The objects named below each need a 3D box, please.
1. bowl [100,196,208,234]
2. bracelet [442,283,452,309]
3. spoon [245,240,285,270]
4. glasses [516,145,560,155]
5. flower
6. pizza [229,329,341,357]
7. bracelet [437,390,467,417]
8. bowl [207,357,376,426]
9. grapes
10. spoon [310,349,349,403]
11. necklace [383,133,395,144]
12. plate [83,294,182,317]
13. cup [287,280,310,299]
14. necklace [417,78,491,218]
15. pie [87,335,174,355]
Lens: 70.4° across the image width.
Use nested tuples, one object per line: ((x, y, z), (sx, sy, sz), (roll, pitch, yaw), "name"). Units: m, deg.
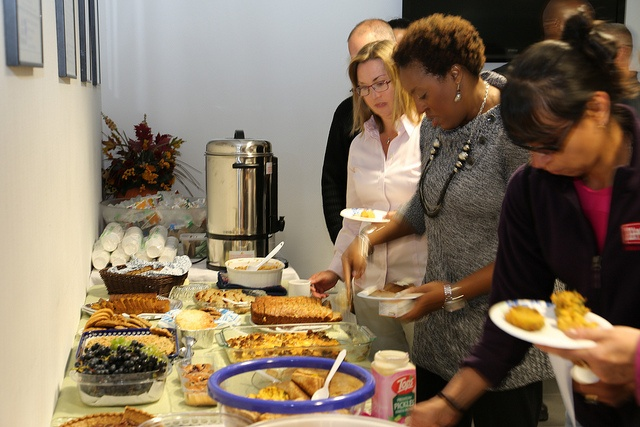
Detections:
((-1.018, 0.004, 2.852), (0.375, 0.142, 0.382), (-1, -3, 0), "bowl")
((0.434, 0.274, 1.538), (0.017, 0.059, 0.043), (-4, 36, 9), "bracelet")
((-0.276, 0.222, 2.218), (0.051, 0.072, 0.353), (-20, -23, -41), "spoon")
((0.494, -0.144, 1.021), (0.029, 0.021, 0.077), (-10, 12, -44), "glasses")
((-1.174, -0.342, 3.178), (0.457, 0.526, 0.580), (-8, -8, 29), "flower")
((-0.113, 0.409, 1.452), (0.217, 0.034, 0.132), (0, 1, -14), "pizza")
((0.340, 0.485, 1.175), (0.058, 0.014, 0.059), (39, -4, 27), "bracelet")
((-0.064, 0.329, 0.862), (0.166, 0.061, 0.163), (-3, 0, 0), "bowl")
((-0.581, 0.425, 1.323), (0.254, 0.078, 0.193), (-5, 10, -22), "grapes")
((0.018, 0.327, 0.895), (0.032, 0.019, 0.140), (4, 46, 35), "spoon")
((0.348, -0.372, 2.260), (0.011, 0.041, 0.030), (40, -29, -29), "necklace")
((-0.766, 0.376, 1.855), (0.232, 0.037, 0.160), (0, 3, -5), "plate")
((-0.093, 0.331, 1.997), (0.089, 0.063, 0.057), (1, -2, -29), "cup")
((0.385, -0.216, 1.594), (0.040, 0.428, 0.256), (17, 24, -4), "necklace")
((-0.613, 0.423, 1.494), (0.172, 0.029, 0.118), (0, 2, -12), "pie")
